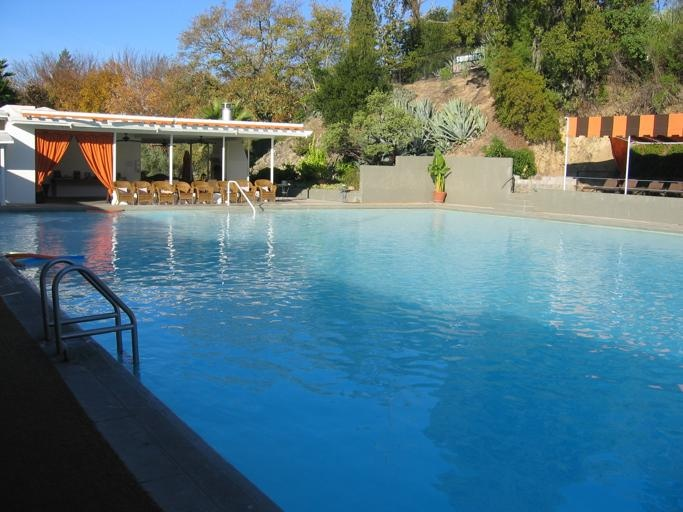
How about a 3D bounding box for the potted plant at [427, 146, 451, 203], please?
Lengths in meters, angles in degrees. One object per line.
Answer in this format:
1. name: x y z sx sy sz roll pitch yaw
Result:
1. potted plant: 4.526 -3.726 23.342 0.774 2.413 0.879 -5 12 -24
